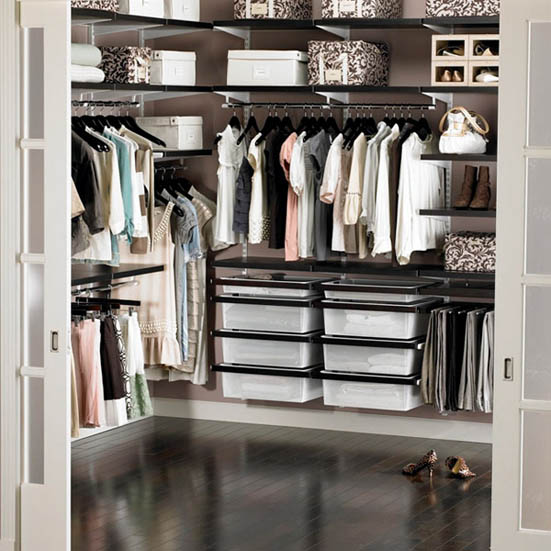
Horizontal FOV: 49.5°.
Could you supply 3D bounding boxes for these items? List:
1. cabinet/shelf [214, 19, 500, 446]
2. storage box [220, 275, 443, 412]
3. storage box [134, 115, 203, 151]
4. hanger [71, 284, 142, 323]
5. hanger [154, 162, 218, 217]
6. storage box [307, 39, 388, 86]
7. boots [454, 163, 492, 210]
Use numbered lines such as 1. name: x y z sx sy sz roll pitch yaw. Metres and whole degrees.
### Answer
1. cabinet/shelf: 0.648 -0.311 4.170 2.914 2.763 0.997 0 0 19
2. storage box: 0.372 0.453 4.342 1.666 0.945 0.374 0 -2 17
3. storage box: -0.832 -1.105 4.654 0.341 0.226 0.367 3 6 30
4. hanger: -1.219 0.167 4.029 0.422 0.194 0.863 0 0 -21
5. hanger: -0.737 -0.667 4.689 0.423 0.303 0.167 6 11 21
6. storage box: 0.570 -1.414 4.294 0.415 0.277 0.436 2 5 24
7. boots: 1.404 -0.593 4.011 0.225 0.311 0.320 1 1 27
